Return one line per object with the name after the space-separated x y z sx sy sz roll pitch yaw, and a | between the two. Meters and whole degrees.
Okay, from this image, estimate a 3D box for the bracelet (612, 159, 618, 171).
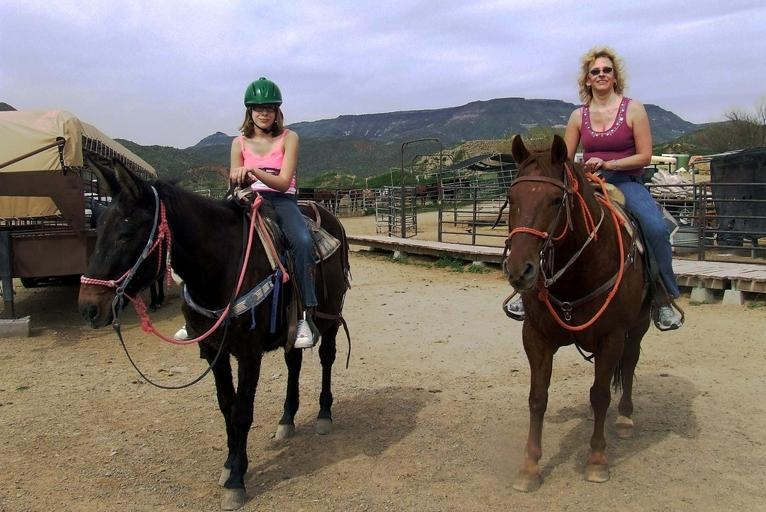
2.234 -0.879 4.788 0.028 0.066 0.074 2 47 12 | bracelet

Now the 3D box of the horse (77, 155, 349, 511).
-1.344 0.557 4.514 0.864 2.970 2.252 7 17 31 | horse

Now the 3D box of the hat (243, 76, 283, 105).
-1.131 -1.550 4.693 0.307 0.248 0.219 -6 15 -19 | hat

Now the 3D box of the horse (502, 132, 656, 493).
1.737 0.451 4.441 1.911 3.002 0.893 -13 18 -37 | horse

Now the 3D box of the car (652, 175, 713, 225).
7.350 -1.358 12.181 1.346 1.036 2.290 1 1 16 | car

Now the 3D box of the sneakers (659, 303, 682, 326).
2.870 0.568 5.011 0.168 0.143 0.342 -8 7 10 | sneakers
